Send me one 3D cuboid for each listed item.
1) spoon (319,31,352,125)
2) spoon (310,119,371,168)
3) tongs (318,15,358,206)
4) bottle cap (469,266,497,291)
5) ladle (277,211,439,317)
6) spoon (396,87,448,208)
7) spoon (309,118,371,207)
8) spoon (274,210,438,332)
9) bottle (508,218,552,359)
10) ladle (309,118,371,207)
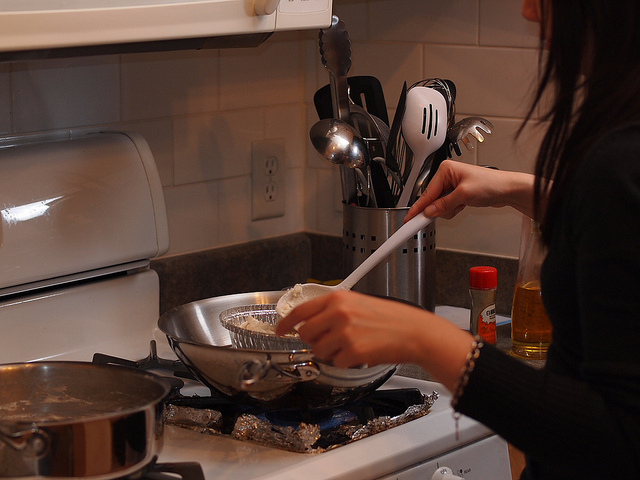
[{"bbox_3d":[0.028,-0.302,1.230,0.038,0.036,0.262,-8,53,3],"label":"spoon"},{"bbox_3d":[0.042,-0.183,1.195,0.105,0.086,0.040,30,-19,-15],"label":"spoon"},{"bbox_3d":[0.043,-0.280,1.198,0.058,0.450,0.044,-15,22,-39],"label":"tongs"},{"bbox_3d":[0.327,0.074,1.180,0.041,0.037,0.044,-2,9,-6],"label":"bottle cap"},{"bbox_3d":[0.063,0.024,1.049,0.214,0.222,0.202,-17,25,-39],"label":"ladle"},{"bbox_3d":[0.208,-0.185,1.197,0.091,0.243,0.045,2,13,9],"label":"spoon"},{"bbox_3d":[0.041,-0.195,1.176,0.105,0.093,0.082,-10,17,-33],"label":"spoon"},{"bbox_3d":[0.079,0.056,1.068,0.107,0.084,0.477,29,34,14],"label":"spoon"},{"bbox_3d":[0.426,0.101,1.190,0.080,0.260,0.089,-4,-4,14],"label":"bottle"},{"bbox_3d":[0.048,-0.156,1.162,0.064,0.128,0.072,-41,30,-7],"label":"ladle"}]
